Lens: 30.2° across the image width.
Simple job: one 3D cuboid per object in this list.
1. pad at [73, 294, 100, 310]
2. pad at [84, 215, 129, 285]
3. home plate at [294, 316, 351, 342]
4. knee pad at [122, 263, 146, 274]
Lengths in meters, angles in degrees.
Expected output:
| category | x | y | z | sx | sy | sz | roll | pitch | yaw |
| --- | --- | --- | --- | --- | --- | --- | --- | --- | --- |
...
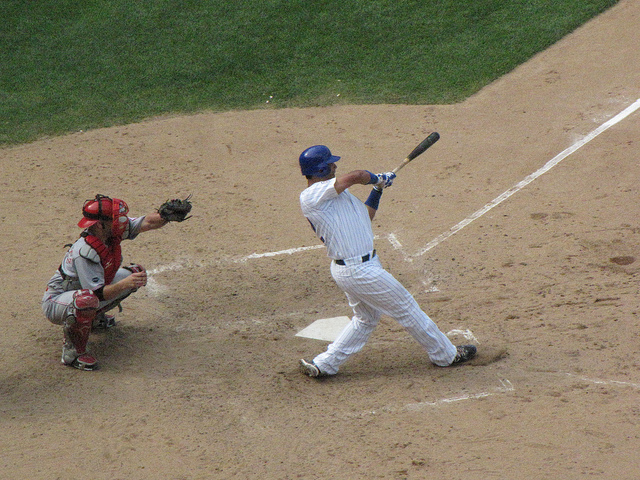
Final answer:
| category | x | y | z | sx | sy | sz | roll | pitch | yaw |
| --- | --- | --- | --- | --- | --- | --- | --- | --- | --- |
| pad | -3.013 | 0.815 | 15.250 | 0.321 | 0.192 | 0.184 | -15 | 52 | -11 |
| pad | -2.731 | 0.249 | 15.530 | 0.457 | 0.691 | 0.519 | -17 | 53 | -9 |
| home plate | 0.044 | 1.183 | 16.137 | 0.555 | 0.141 | 0.571 | 15 | 47 | 16 |
| knee pad | -2.462 | 0.371 | 15.742 | 0.279 | 0.149 | 0.073 | 5 | 47 | 25 |
